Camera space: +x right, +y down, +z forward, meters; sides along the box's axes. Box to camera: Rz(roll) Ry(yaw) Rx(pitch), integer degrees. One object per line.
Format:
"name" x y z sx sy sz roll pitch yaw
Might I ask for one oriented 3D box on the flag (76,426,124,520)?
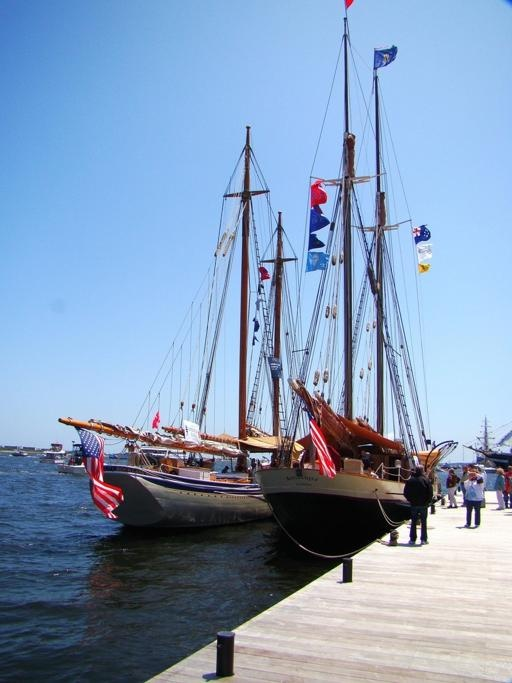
"flag" -4.860 4.299 19.402 1.353 3.106 5.924 5 -7 -11

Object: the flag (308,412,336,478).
"flag" 1.786 2.868 16.768 0.695 1.576 2.643 2 -7 8

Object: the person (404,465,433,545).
"person" 3.699 3.767 14.467 0.594 1.772 1.205 2 -7 14
